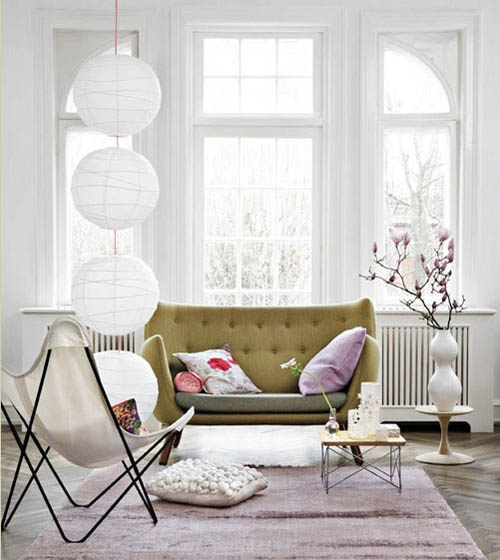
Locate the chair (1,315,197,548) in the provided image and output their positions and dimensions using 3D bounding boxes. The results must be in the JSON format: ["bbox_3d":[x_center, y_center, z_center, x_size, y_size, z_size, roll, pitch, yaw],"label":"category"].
[{"bbox_3d":[-0.715,0.650,2.745,0.599,1.078,0.930,-7,-12,27],"label":"chair"}]

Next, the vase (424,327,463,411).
[{"bbox_3d":[1.096,0.505,3.512,0.175,0.448,0.181,0,-1,10],"label":"vase"}]

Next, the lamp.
[{"bbox_3d":[-0.641,-0.393,2.953,0.425,1.320,0.374,0,0,-14],"label":"lamp"}]

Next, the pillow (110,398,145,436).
[{"bbox_3d":[-0.527,0.593,2.702,0.047,0.189,0.148,-23,-22,34],"label":"pillow"}]
